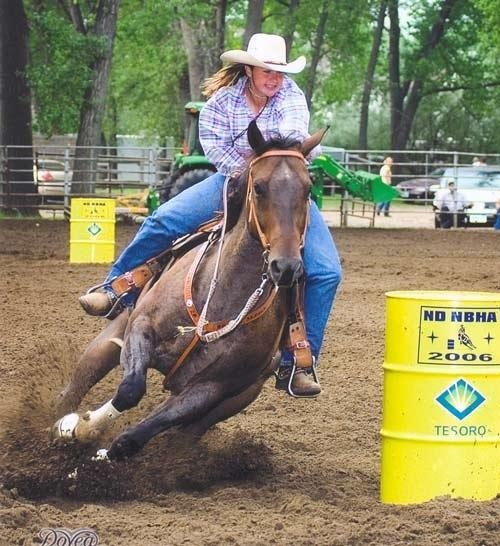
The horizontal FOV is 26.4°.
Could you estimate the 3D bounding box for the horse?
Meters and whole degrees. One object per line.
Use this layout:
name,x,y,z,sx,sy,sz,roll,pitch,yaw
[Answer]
horse,-0.282,0.121,6.114,1.446,1.890,1.028,-1,10,17

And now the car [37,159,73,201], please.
car,-5.373,-2.401,29.119,0.953,1.064,1.906,7,11,-23

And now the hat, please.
hat,0.098,-1.308,6.523,0.467,0.174,0.460,-14,15,-39

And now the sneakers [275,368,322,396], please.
sneakers,0.270,0.687,6.544,0.132,0.138,0.354,4,-8,-27
